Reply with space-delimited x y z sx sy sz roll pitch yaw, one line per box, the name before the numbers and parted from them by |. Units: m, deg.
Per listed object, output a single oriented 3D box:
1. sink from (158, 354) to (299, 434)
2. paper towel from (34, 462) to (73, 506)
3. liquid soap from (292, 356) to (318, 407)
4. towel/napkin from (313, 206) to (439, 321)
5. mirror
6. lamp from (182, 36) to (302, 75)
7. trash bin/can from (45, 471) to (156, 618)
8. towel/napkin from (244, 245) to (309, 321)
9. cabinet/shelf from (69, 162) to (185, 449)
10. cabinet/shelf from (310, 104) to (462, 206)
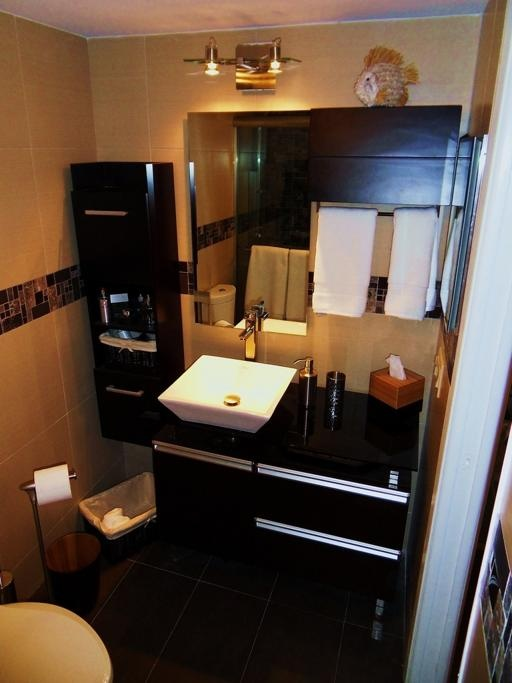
sink | -0.114 0.229 2.140 0.480 0.167 0.493 7 20 17
paper towel | -0.637 0.461 1.674 0.127 0.111 0.115 -6 7 -19
liquid soap | 0.209 0.170 2.238 0.130 0.261 0.098 9 25 19
towel/napkin | 0.437 -0.293 1.922 0.396 0.423 0.124 7 17 21
mirror | -0.033 -0.479 2.227 0.536 0.904 0.083 7 18 18
lamp | -0.064 -1.065 1.964 0.454 0.118 0.196 4 19 9
trash bin/can | -0.683 0.915 2.420 0.293 0.199 0.530 14 30 23
towel/napkin | 0.130 -0.293 2.379 0.264 0.311 0.094 7 24 14
cabinet/shelf | -0.561 -0.132 2.371 0.386 1.281 0.326 4 18 10
cabinet/shelf | 0.405 -0.620 1.710 0.530 0.372 0.294 6 32 14
